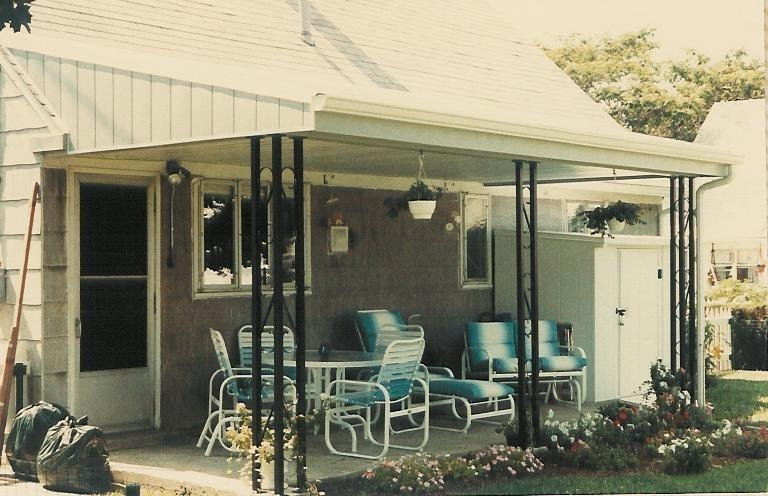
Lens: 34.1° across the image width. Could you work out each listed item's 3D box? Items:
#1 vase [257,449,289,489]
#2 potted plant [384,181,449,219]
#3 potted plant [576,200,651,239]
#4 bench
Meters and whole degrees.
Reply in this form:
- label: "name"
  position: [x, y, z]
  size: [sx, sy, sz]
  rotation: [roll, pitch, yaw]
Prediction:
- label: "vase"
  position: [-1.575, 3.028, 17.409]
  size: [0.476, 0.515, 0.488]
  rotation: [1, -1, -17]
- label: "potted plant"
  position: [0.463, -0.823, 20.710]
  size: [0.589, 0.458, 0.889]
  rotation: [4, -10, -35]
- label: "potted plant"
  position: [4.050, -0.573, 22.755]
  size: [1.156, 0.734, 0.786]
  rotation: [3, -5, -41]
- label: "bench"
  position: [2.371, 1.940, 21.583]
  size: [1.920, 1.487, 1.192]
  rotation: [1, -2, -20]
